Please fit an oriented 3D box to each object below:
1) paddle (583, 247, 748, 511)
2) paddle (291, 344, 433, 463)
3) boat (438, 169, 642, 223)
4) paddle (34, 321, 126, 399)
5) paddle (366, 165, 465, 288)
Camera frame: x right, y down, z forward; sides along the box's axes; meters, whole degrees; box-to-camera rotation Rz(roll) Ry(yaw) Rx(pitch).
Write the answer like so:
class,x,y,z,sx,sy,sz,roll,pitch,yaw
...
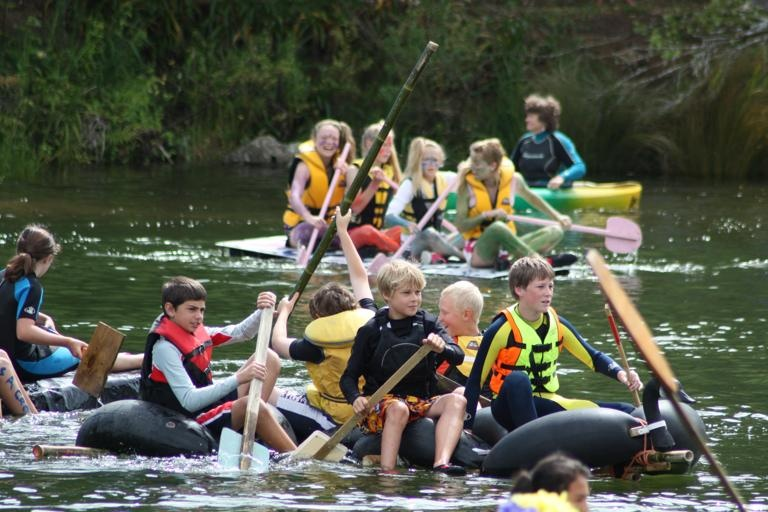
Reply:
class,x,y,z,sx,sy,sz,roll,pitch,yaw
paddle,2.777,1.284,13.248,0.233,2.726,0.172,-27,-9,-31
paddle,-0.147,1.389,12.625,0.317,1.409,0.067,45,-1,23
boat,2.475,-0.708,19.962,3.407,0.671,1.023,1,0,-26
paddle,-3.035,1.066,13.416,0.468,0.850,0.101,26,8,2
paddle,0.370,-0.351,16.402,0.169,1.776,0.444,45,10,5
